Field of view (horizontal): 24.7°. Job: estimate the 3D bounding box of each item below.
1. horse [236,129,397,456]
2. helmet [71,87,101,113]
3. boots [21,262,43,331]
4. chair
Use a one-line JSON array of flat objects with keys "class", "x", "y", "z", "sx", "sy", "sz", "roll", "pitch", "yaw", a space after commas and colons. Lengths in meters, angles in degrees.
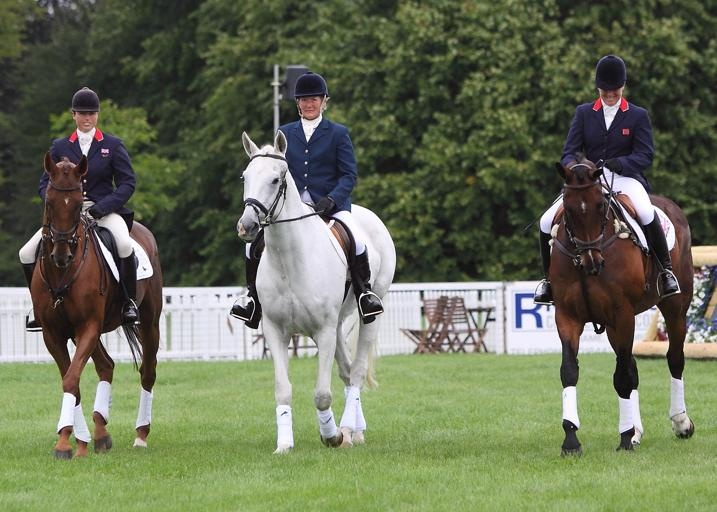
[{"class": "horse", "x": -1.042, "y": 0.607, "z": 31.200, "sx": 1.235, "sy": 5.991, "sz": 3.180, "roll": -3, "pitch": 0, "yaw": 35}, {"class": "helmet", "x": -5.346, "y": -3.096, "z": 31.618, "sx": 0.401, "sy": 0.363, "sz": 0.553, "roll": 0, "pitch": 3, "yaw": -9}, {"class": "boots", "x": -6.469, "y": 0.696, "z": 32.012, "sx": 0.309, "sy": 1.293, "sz": 0.470, "roll": -3, "pitch": 17, "yaw": -3}, {"class": "chair", "x": 2.397, "y": 1.653, "z": 42.456, "sx": 1.468, "sy": 1.954, "sz": 1.889, "roll": -3, "pitch": -12, "yaw": 16}]
